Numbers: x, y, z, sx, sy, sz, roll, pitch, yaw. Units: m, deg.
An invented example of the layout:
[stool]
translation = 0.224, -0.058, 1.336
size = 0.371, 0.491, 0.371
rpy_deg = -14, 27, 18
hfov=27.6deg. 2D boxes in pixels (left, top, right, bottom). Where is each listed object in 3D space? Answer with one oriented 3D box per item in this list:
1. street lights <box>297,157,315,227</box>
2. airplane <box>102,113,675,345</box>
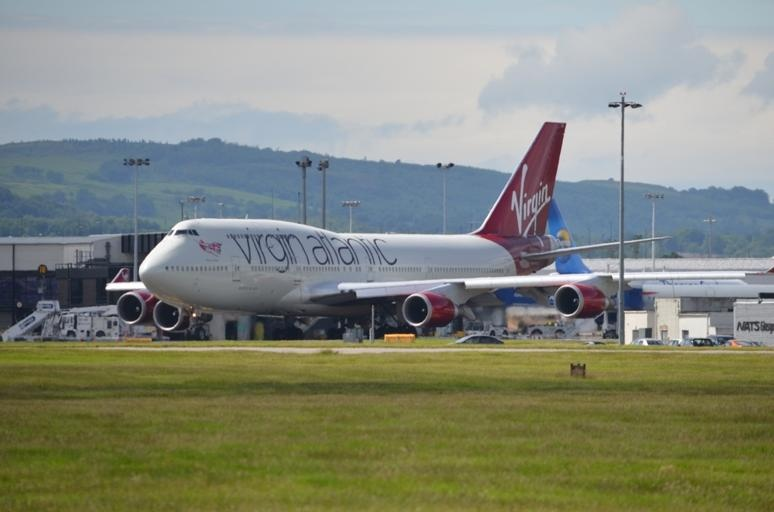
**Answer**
[street lights]
translation = -5.460, -4.704, 105.840
size = 1.118, 2.629, 0.938
rpy_deg = -1, 4, -11
[airplane]
translation = -0.643, -0.929, 85.469
size = 27.773, 9.773, 15.138
rpy_deg = -3, 14, -14
